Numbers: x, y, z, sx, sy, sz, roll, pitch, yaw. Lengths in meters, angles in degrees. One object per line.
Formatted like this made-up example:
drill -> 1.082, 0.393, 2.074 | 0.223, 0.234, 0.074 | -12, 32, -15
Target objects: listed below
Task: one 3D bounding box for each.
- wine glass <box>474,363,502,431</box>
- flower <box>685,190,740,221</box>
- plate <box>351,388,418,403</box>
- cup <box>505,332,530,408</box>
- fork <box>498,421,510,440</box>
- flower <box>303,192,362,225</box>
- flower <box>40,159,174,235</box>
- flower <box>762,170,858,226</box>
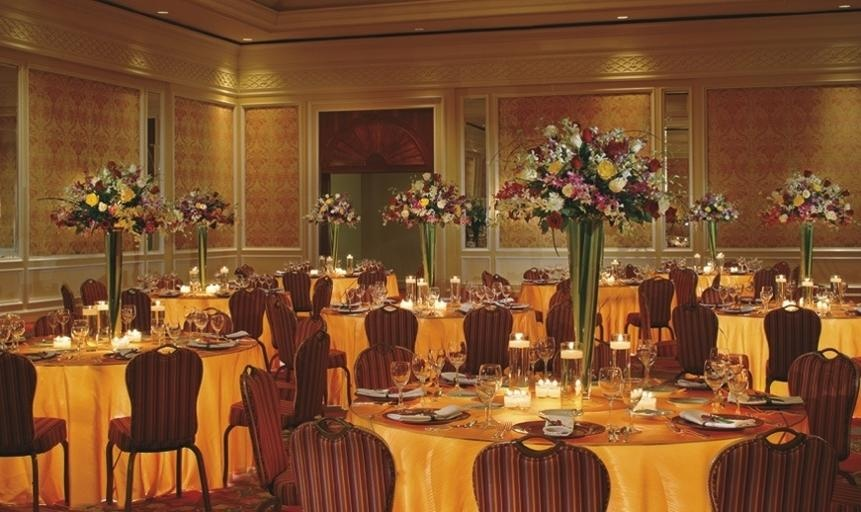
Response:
wine glass -> 0.430, 1.024, 5.269 | 0.172, 0.450, 0.390 | 0, 0, 4
flower -> 4.938, -0.770, 12.366 | 0.801, 0.666, 0.795 | -1, 0, 14
plate -> -0.335, 1.109, 5.661 | 0.528, 0.096, 0.312 | 0, -1, -10
cup -> 0.681, 0.893, 5.544 | 0.190, 0.564, 0.274 | 0, 0, 6
fork -> 0.518, 1.259, 5.026 | 0.042, 0.026, 0.177 | -6, 15, 15
flower -> -1.861, -0.798, 13.206 | 0.917, 0.527, 0.924 | 1, -1, -12
flower -> -3.521, -0.547, 7.767 | 1.182, 0.816, 1.199 | 0, 1, 25
flower -> 5.963, -0.883, 10.929 | 1.160, 0.898, 1.149 | -1, 9, -16
